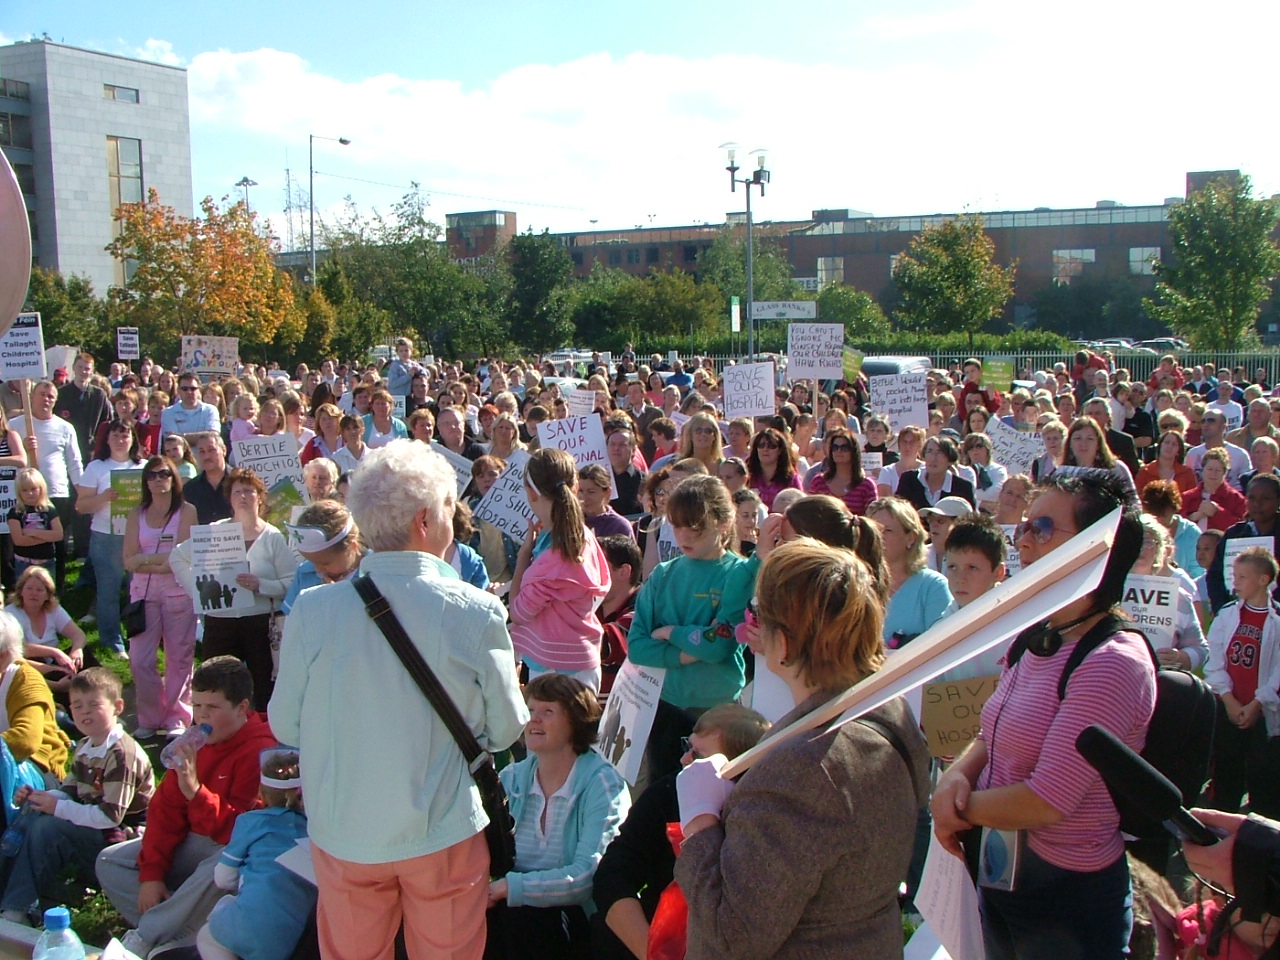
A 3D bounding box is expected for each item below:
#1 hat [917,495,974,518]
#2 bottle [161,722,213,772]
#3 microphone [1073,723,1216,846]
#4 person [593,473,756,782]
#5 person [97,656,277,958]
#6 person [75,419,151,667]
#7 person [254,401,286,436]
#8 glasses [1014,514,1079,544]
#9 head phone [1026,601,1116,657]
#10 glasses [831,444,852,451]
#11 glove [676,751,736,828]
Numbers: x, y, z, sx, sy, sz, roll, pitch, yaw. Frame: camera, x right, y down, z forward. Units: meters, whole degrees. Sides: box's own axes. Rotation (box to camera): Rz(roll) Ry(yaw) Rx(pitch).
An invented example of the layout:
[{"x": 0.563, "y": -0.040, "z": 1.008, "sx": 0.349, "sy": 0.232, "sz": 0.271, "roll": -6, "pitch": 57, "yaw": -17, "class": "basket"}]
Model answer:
[{"x": 2.059, "y": 0.188, "z": 9.031, "sx": 0.346, "sy": 0.160, "sz": 0.273, "roll": 3, "pitch": -1, "yaw": -12, "class": "hat"}, {"x": -2.443, "y": 1.432, "z": 7.304, "sx": 0.261, "sy": 0.243, "sz": 0.171, "roll": -5, "pitch": 10, "yaw": -38, "class": "bottle"}, {"x": 1.872, "y": 1.123, "z": 5.069, "sx": 0.689, "sy": 0.194, "sz": 0.215, "roll": 43, "pitch": 6, "yaw": -11, "class": "microphone"}, {"x": 0.176, "y": 1.133, "z": 7.642, "sx": 0.761, "sy": 2.375, "sz": 0.549, "roll": 1, "pitch": 16, "yaw": -9, "class": "person"}, {"x": -2.407, "y": 1.773, "z": 7.235, "sx": 0.880, "sy": 1.546, "sz": 0.809, "roll": -1, "pitch": 8, "yaw": -15, "class": "person"}, {"x": -4.394, "y": 0.524, "z": 11.525, "sx": 0.636, "sy": 2.115, "sz": 0.538, "roll": -6, "pitch": 18, "yaw": -35, "class": "person"}, {"x": -3.494, "y": -0.563, "z": 12.793, "sx": 0.261, "sy": 0.321, "sz": 0.793, "roll": -1, "pitch": 9, "yaw": -16, "class": "person"}, {"x": 1.685, "y": 0.203, "z": 5.710, "sx": 0.139, "sy": 0.070, "sz": 0.113, "roll": 19, "pitch": -13, "yaw": -28, "class": "glasses"}, {"x": 1.764, "y": 0.625, "z": 5.543, "sx": 0.264, "sy": 0.117, "sz": 0.211, "roll": -24, "pitch": 2, "yaw": 0, "class": "head phone"}, {"x": 1.618, "y": -0.257, "z": 10.786, "sx": 0.118, "sy": 0.078, "sz": 0.039, "roll": 2, "pitch": 8, "yaw": 5, "class": "glasses"}, {"x": 0.236, "y": 1.106, "z": 4.950, "sx": 0.167, "sy": 0.232, "sz": 0.214, "roll": -13, "pitch": 29, "yaw": 31, "class": "glove"}]
